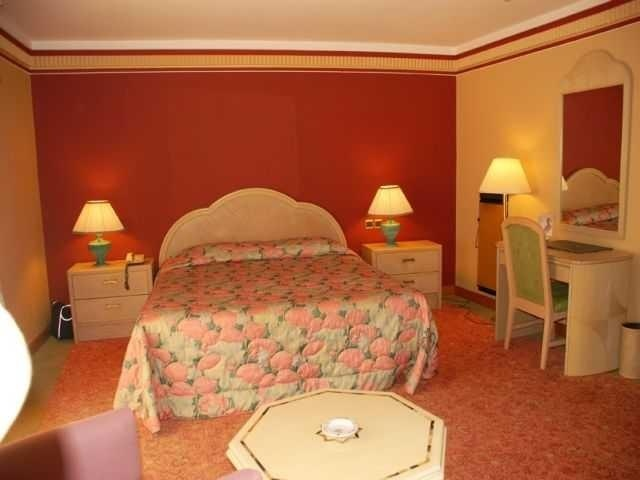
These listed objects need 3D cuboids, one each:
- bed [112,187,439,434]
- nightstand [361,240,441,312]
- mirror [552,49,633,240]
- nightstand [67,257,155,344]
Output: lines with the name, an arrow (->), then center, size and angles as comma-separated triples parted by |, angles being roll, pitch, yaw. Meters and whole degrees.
bed -> -0.592, 0.520, 4.728 | 1.873, 1.263, 2.532 | -3, 10, -15
nightstand -> 0.963, 0.436, 5.596 | 0.794, 0.759, 0.452 | -3, 8, -8
mirror -> 2.434, -0.863, 4.303 | 0.167, 1.566, 0.800 | -6, 14, -16
nightstand -> -2.139, 0.622, 5.082 | 0.784, 0.730, 0.454 | -3, 9, -16
